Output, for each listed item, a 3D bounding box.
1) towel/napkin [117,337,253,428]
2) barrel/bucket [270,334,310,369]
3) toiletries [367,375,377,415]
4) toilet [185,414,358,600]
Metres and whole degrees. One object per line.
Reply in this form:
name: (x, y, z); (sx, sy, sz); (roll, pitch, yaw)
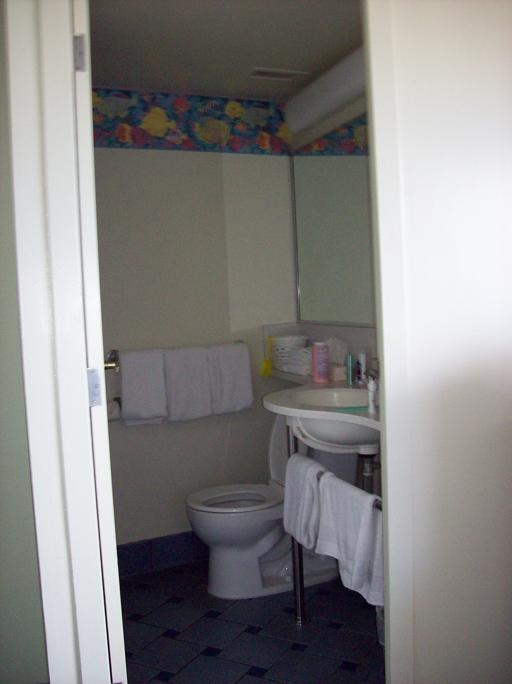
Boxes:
towel/napkin: (-0.298, 0.178, 2.703); (0.591, 0.246, 0.039); (-5, 3, -23)
barrel/bucket: (0.146, 0.041, 2.819); (0.175, 0.145, 0.287); (-4, 2, 8)
toiletries: (0.358, 0.162, 1.887); (0.030, 0.107, 0.110); (-3, 2, 10)
toilet: (0.016, 0.663, 2.533); (0.561, 0.661, 0.338); (-1, 0, -15)
